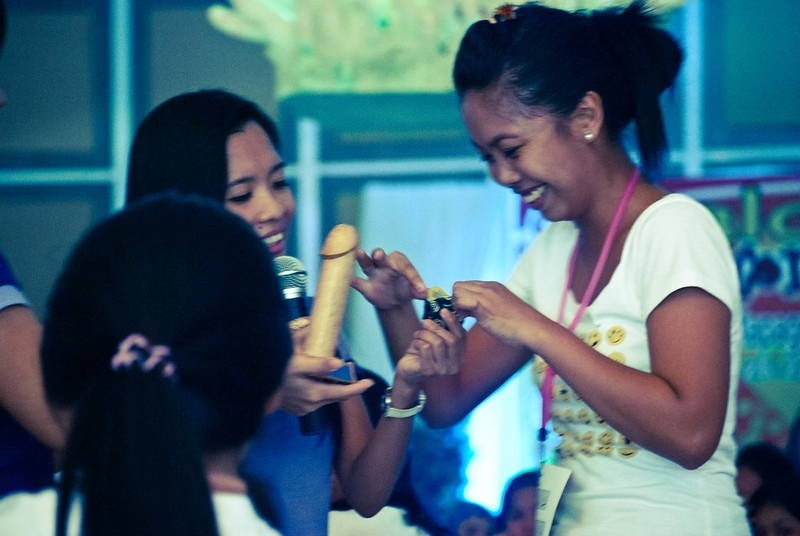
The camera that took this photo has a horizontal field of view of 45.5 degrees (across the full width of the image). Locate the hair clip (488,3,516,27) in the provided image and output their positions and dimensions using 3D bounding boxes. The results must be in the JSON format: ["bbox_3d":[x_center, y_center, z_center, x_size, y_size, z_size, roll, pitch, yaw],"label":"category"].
[{"bbox_3d":[0.220,-0.543,2.080,0.022,0.052,0.041,13,4,-36],"label":"hair clip"}]

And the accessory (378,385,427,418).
[{"bbox_3d":[0.000,0.301,2.136,0.078,0.030,0.074,-3,43,-6],"label":"accessory"}]
